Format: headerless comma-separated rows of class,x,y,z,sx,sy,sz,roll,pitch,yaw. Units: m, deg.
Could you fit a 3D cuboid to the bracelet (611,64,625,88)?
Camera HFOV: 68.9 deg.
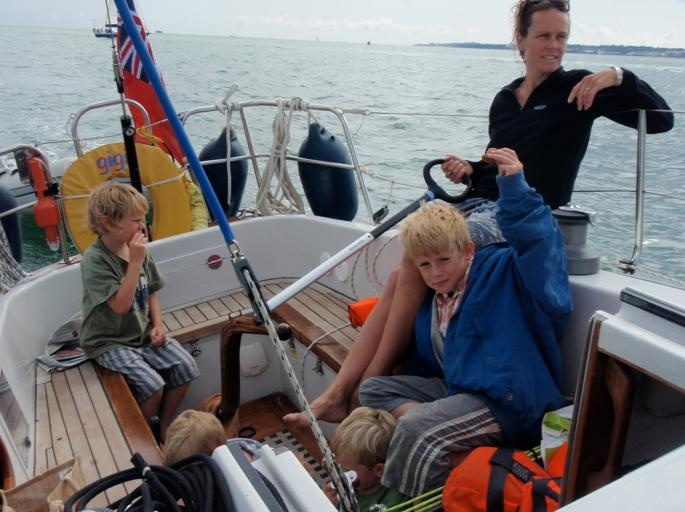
bracelet,1.113,-0.725,2.034,0.026,0.068,0.049,2,9,-11

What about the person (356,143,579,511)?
person,0.400,0.245,1.746,0.718,1.087,0.649,1,1,41

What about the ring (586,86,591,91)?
ring,0.981,-0.672,2.016,0.017,0.018,0.010,14,27,28

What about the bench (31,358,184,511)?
bench,-0.975,0.764,2.027,0.290,0.167,0.666,-22,39,-29

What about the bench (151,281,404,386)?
bench,-0.315,0.349,2.551,0.600,0.149,0.632,-11,17,-34

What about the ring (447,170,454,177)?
ring,0.476,-0.369,2.242,0.034,0.007,0.024,14,-33,-40
